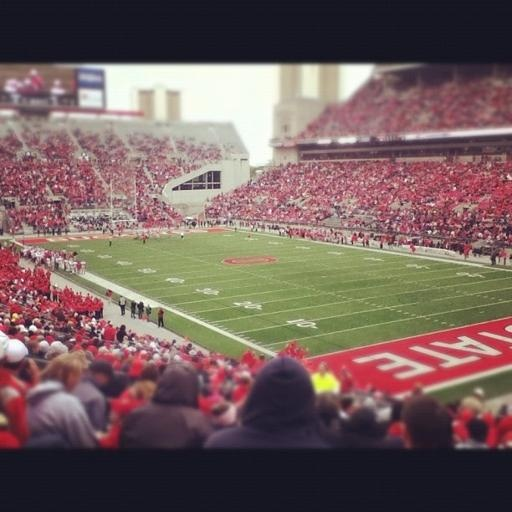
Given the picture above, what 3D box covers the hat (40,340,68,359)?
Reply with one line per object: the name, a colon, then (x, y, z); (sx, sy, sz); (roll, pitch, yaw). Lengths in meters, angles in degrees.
hat: (-2.283, 1.082, 6.341); (0.278, 0.211, 0.185); (15, -13, -25)
